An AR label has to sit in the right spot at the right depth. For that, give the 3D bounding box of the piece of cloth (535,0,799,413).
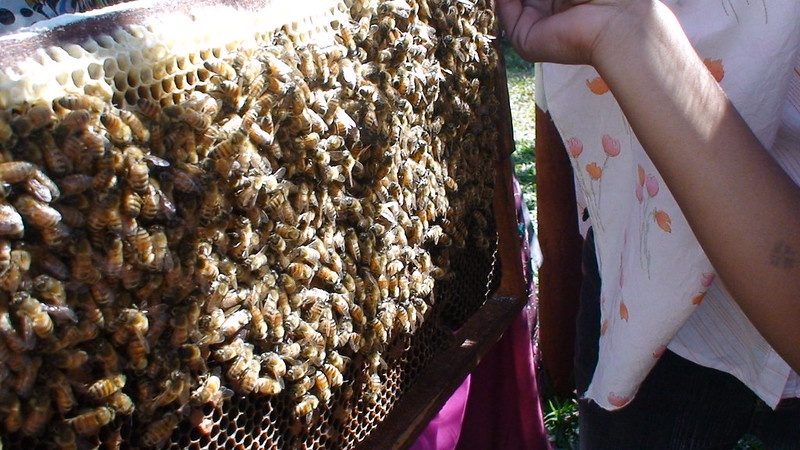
[{"bbox_3d":[0.701,-0.027,1.822,0.270,1.125,0.910,-4,18,26],"label":"piece of cloth"}]
